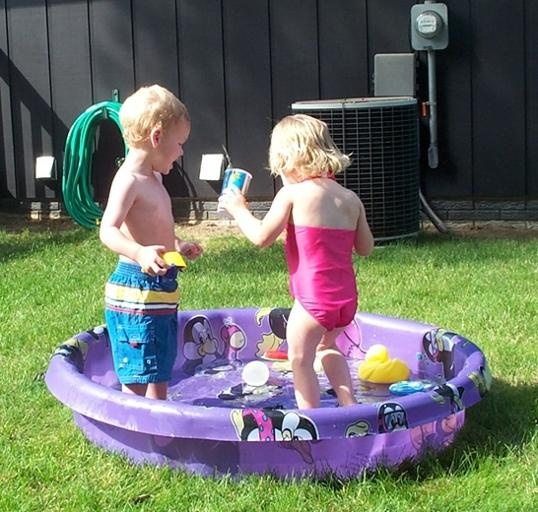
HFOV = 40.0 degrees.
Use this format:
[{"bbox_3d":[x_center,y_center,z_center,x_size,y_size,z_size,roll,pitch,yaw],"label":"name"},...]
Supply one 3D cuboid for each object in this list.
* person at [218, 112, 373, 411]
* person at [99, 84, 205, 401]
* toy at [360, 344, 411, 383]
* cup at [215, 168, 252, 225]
[{"bbox_3d":[0.160,0.064,3.102,0.470,1.343,0.376,-15,25,-26],"label":"person"},{"bbox_3d":[-0.490,-0.020,2.956,0.389,1.277,0.546,-1,11,2],"label":"person"},{"bbox_3d":[0.554,0.526,3.585,0.226,0.170,0.230,-9,-4,-37],"label":"toy"},{"bbox_3d":[-0.152,-0.283,3.226,0.096,0.156,0.108,15,-24,-11],"label":"cup"}]
